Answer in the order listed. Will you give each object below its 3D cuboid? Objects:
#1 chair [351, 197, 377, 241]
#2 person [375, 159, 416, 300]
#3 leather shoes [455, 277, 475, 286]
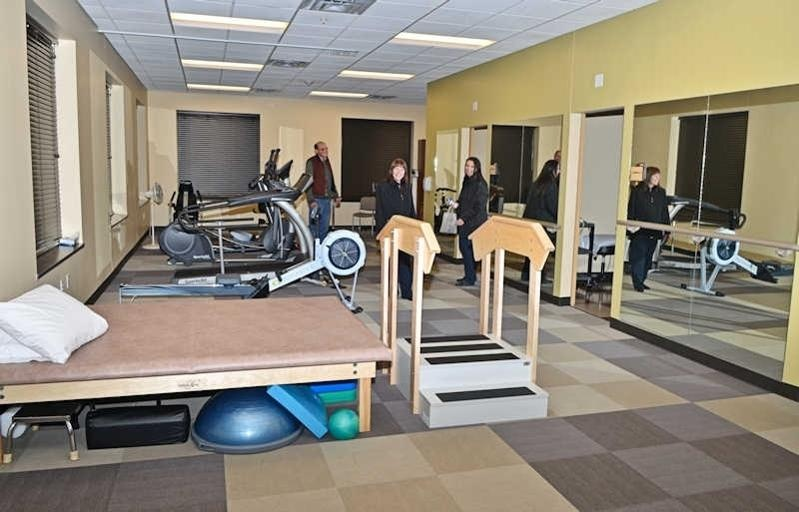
[{"bbox_3d":[-1.043,-1.194,14.915,0.672,1.106,1.765,0,14,-5],"label":"chair"},{"bbox_3d":[-0.060,-0.370,7.535,0.558,2.010,0.772,0,14,-3],"label":"person"},{"bbox_3d":[1.106,0.443,8.884,0.385,0.142,0.126,0,3,7],"label":"leather shoes"}]
